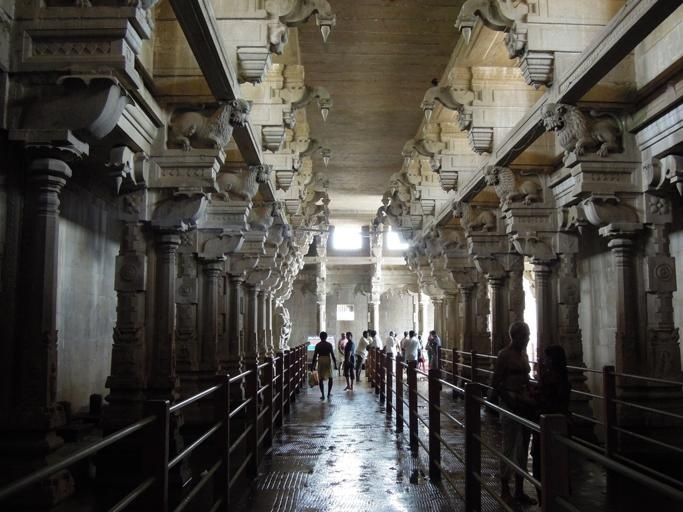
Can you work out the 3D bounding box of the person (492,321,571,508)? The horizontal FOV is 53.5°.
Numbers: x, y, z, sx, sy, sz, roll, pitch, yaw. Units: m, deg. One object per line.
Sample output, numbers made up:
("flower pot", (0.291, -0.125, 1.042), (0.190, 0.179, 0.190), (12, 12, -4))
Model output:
("person", (1.592, 1.366, 5.894), (0.580, 1.585, 0.706), (6, -11, -37))
